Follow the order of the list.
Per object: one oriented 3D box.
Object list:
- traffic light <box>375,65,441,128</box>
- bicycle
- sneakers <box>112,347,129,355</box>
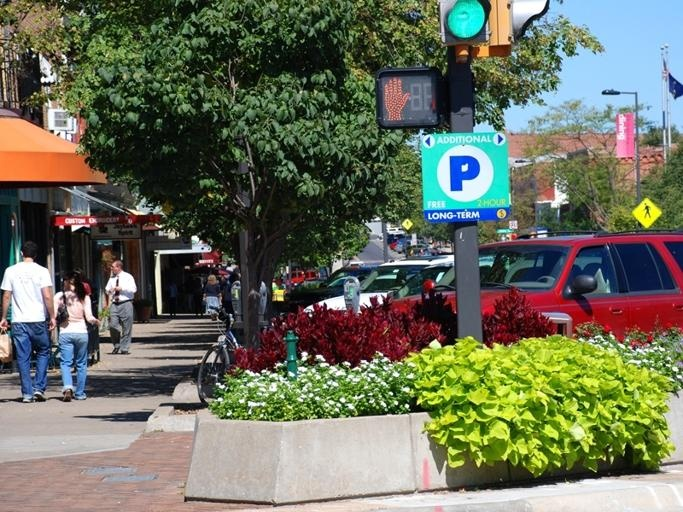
[{"bbox_3d":[0.626,-1.442,8.782,0.527,0.503,0.075,0,-2,-2],"label":"traffic light"},{"bbox_3d":[-1.550,1.296,13.572,0.722,0.956,1.511,8,6,22],"label":"bicycle"},{"bbox_3d":[-5.474,2.363,24.365,0.506,0.227,0.184,-3,-2,27],"label":"sneakers"}]
